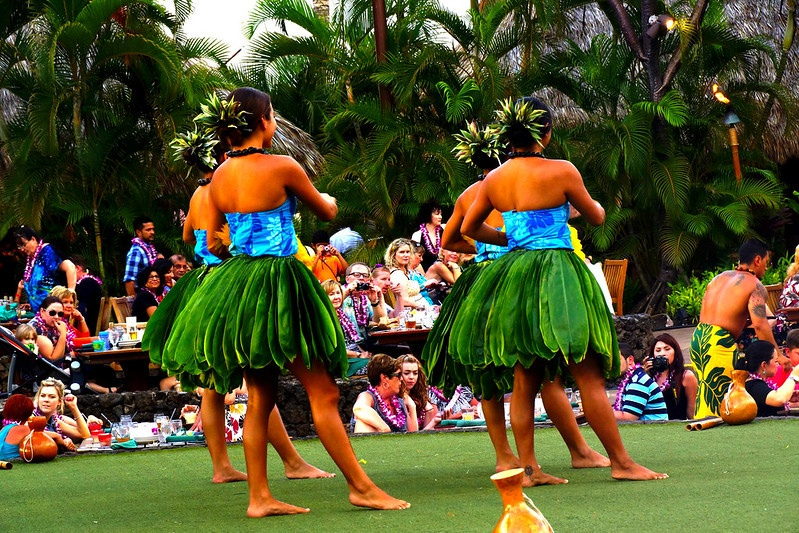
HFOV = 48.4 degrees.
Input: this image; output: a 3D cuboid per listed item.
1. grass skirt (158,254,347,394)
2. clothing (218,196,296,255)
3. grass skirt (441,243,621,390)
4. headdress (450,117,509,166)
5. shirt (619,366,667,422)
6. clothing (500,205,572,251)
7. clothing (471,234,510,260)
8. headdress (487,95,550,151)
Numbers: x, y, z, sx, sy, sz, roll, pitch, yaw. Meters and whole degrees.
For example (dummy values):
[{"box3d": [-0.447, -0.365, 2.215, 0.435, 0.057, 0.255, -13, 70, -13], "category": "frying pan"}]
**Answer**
[{"box3d": [-0.756, 0.252, 4.560, 0.759, 0.589, 0.786, 8, 6, 15], "category": "grass skirt"}, {"box3d": [-0.731, -0.203, 4.541, 0.343, 0.321, 0.273, 1, 2, 11], "category": "clothing"}, {"box3d": [0.755, 0.261, 4.948, 0.786, 0.711, 0.806, -1, 8, 3], "category": "grass skirt"}, {"box3d": [0.539, -0.714, 5.219, 0.280, 0.293, 0.188, 13, -32, 27], "category": "headdress"}, {"box3d": [2.069, 0.979, 6.988, 0.307, 0.478, 0.556, -1, 0, 25], "category": "shirt"}, {"box3d": [0.731, -0.225, 4.891, 0.308, 0.226, 0.188, -5, 20, 9], "category": "clothing"}, {"box3d": [0.578, -0.120, 5.269, 0.162, 0.220, 0.119, -1, 6, 8], "category": "clothing"}, {"box3d": [0.724, -0.782, 4.929, 0.295, 0.305, 0.178, -1, -11, 10], "category": "headdress"}]
